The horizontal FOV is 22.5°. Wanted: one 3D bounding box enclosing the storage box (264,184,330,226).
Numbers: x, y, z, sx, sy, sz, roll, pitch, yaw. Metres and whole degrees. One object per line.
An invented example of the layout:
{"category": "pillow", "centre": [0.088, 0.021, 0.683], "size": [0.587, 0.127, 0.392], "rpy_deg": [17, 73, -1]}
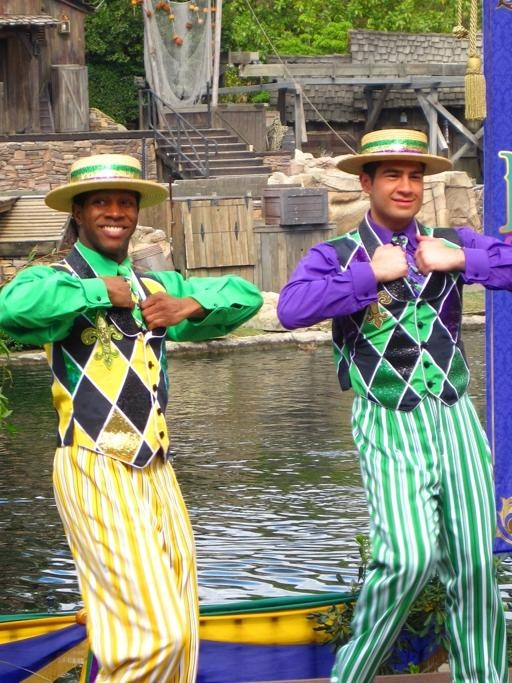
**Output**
{"category": "storage box", "centre": [0.673, -2.038, 19.712], "size": [0.894, 0.666, 0.568], "rpy_deg": [-2, -10, -15]}

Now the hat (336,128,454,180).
{"category": "hat", "centre": [0.465, -0.664, 4.337], "size": [0.374, 0.079, 0.331], "rpy_deg": [1, 8, 21]}

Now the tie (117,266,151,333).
{"category": "tie", "centre": [-0.383, -0.167, 4.025], "size": [0.066, 0.178, 0.142], "rpy_deg": [17, 50, 17]}
